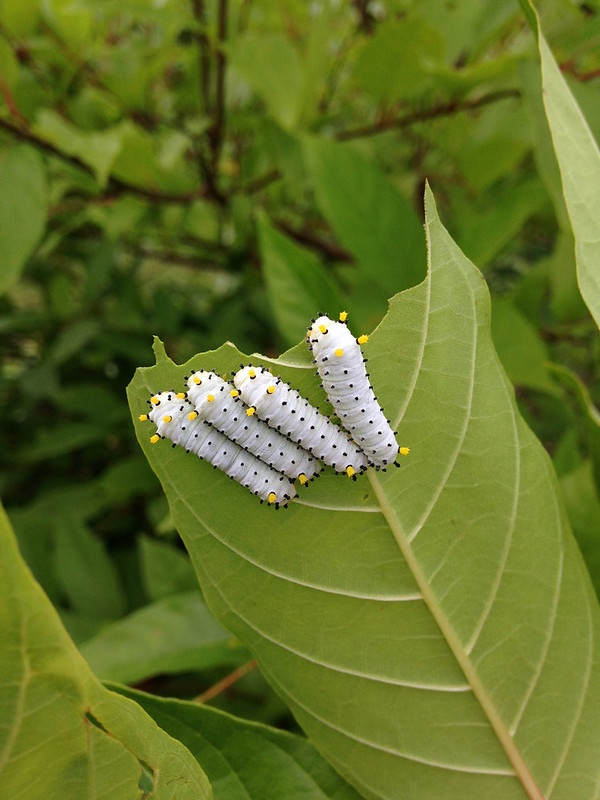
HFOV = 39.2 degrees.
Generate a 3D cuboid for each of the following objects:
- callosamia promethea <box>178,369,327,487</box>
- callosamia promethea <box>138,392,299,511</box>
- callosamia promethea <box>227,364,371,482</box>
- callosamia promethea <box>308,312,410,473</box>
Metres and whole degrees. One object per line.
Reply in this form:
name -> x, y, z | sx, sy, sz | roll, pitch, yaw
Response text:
callosamia promethea -> -0.036, 0.041, 1.297 | 0.283, 0.101, 0.093 | 37, 71, -9
callosamia promethea -> -0.140, 0.073, 1.195 | 0.267, 0.092, 0.107 | 32, 57, 8
callosamia promethea -> -0.007, 0.027, 1.223 | 0.264, 0.103, 0.089 | 30, 84, 11
callosamia promethea -> 0.074, -0.011, 1.183 | 0.104, 0.105, 0.261 | -23, 98, 13
